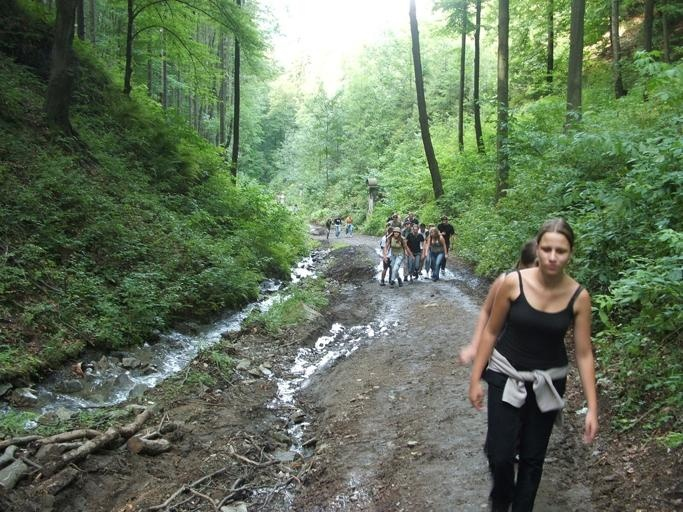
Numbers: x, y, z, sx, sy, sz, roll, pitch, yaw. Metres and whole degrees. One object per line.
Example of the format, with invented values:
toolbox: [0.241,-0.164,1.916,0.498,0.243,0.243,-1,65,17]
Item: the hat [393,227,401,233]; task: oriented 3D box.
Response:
hat: [1.784,-0.868,17.450,0.283,0.161,0.405,-1,-7,11]
